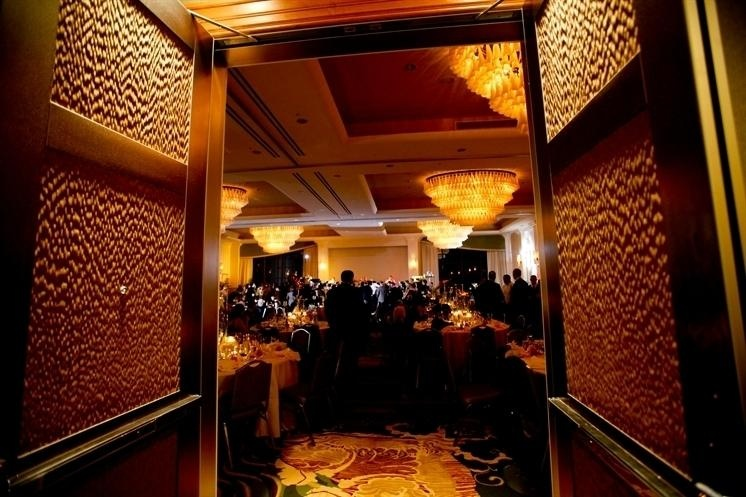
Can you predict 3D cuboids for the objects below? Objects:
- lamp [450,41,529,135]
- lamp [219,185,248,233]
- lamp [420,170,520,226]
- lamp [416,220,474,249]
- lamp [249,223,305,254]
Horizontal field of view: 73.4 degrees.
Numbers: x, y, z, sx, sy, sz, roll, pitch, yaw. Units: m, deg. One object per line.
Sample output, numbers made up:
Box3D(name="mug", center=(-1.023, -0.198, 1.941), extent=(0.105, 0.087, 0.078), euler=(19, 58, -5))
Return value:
Box3D(name="lamp", center=(0.846, -1.210, 3.540), extent=(0.403, 0.537, 0.840), euler=(0, 1, 34))
Box3D(name="lamp", center=(-2.165, -0.696, 7.926), extent=(0.386, 0.645, 1.887), euler=(0, 1, -14))
Box3D(name="lamp", center=(1.273, -0.696, 6.694), extent=(0.884, 0.396, 0.898), euler=(-1, -9, -1))
Box3D(name="lamp", center=(1.409, -0.316, 9.761), extent=(0.704, 0.417, 0.702), euler=(4, -6, -28))
Box3D(name="lamp", center=(-1.980, -0.245, 10.333), extent=(0.758, 0.359, 0.773), euler=(-2, -1, 6))
